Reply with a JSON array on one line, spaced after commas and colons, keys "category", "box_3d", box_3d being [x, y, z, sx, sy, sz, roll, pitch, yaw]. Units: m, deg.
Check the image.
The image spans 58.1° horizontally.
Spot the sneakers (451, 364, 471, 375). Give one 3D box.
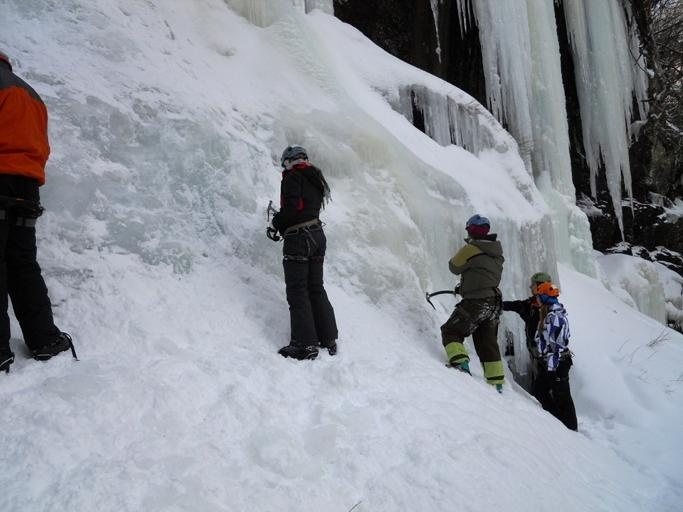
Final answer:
[{"category": "sneakers", "box_3d": [1.203, 1.155, 6.218, 0.155, 0.067, 0.052, 25, 4, 0]}]

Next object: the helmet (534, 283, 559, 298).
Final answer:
[{"category": "helmet", "box_3d": [2.319, 0.377, 6.937, 0.142, 0.151, 0.208, 3, 8, -25]}]

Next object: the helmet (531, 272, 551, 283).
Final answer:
[{"category": "helmet", "box_3d": [2.357, 0.275, 7.192, 0.123, 0.164, 0.162, 1, 5, -43]}]

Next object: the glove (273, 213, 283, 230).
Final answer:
[{"category": "glove", "box_3d": [-0.578, -0.310, 5.540, 0.088, 0.125, 0.118, -3, 8, -40]}]

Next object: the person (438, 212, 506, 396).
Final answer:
[{"category": "person", "box_3d": [1.381, 0.474, 6.468, 0.655, 1.764, 0.720, -1, 6, 11]}]

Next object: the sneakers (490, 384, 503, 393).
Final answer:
[{"category": "sneakers", "box_3d": [1.597, 1.356, 6.270, 0.107, 0.067, 0.164, -1, 7, 14]}]

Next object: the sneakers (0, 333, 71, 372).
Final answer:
[{"category": "sneakers", "box_3d": [-2.242, 0.693, 4.567, 0.500, 0.223, 0.166, -29, 18, -35]}]

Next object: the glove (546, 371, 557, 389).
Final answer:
[{"category": "glove", "box_3d": [2.377, 1.391, 6.928, 0.090, 0.175, 0.165, -3, -11, 15]}]

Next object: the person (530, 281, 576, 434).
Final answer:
[{"category": "person", "box_3d": [2.422, 1.106, 6.928, 0.304, 1.598, 0.732, -4, 6, -12]}]

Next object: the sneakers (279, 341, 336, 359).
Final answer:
[{"category": "sneakers", "box_3d": [-0.299, 0.852, 5.529, 0.497, 0.247, 0.190, 5, -5, -11]}]

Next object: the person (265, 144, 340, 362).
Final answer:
[{"category": "person", "box_3d": [-0.343, -0.036, 5.550, 0.545, 1.899, 0.581, -3, 6, -2]}]
